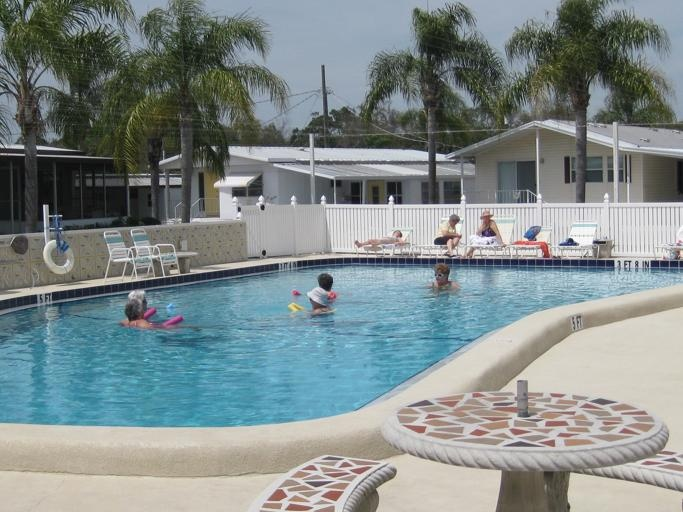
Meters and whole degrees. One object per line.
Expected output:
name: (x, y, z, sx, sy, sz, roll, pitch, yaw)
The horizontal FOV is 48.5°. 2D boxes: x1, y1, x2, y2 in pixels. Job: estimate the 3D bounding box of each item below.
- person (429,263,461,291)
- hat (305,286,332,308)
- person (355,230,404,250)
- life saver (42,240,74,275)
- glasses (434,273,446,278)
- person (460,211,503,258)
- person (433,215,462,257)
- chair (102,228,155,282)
person: (2.092, 0.577, 15.536, 0.718, 0.705, 0.470, -2, -2, 32)
hat: (-0.388, 0.706, 13.063, 0.331, 0.345, 0.318, -2, 6, -6)
person: (1.386, -0.410, 21.248, 0.605, 0.480, 1.085, -1, 0, 38)
life saver: (-5.821, -0.027, 15.612, 0.745, 0.837, 0.196, 17, 35, 37)
glasses: (2.000, 0.372, 15.379, 0.109, 0.113, 0.268, -5, 7, -32)
person: (3.745, -0.566, 19.873, 1.205, 1.365, 0.755, 5, -11, -23)
person: (2.930, -0.559, 20.645, 0.702, 1.178, 0.568, 10, 6, 33)
chair: (-4.738, -0.057, 16.766, 1.060, 1.126, 1.813, -4, 6, -18)
